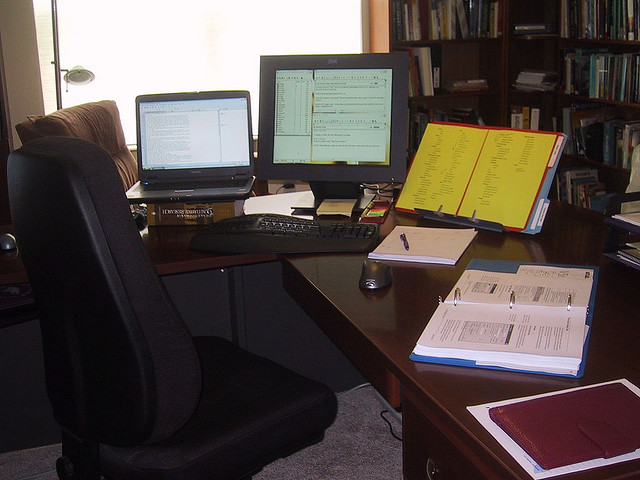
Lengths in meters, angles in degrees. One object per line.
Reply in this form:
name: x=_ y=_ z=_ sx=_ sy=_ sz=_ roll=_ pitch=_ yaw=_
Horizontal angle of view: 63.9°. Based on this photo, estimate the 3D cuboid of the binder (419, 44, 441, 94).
binder: x=0.971 y=-1.420 z=4.344 sx=0.140 sy=0.373 sz=0.401 roll=7 pitch=18 yaw=27

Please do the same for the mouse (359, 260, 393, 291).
mouse: x=0.143 y=0.077 z=1.328 sx=0.072 sy=0.045 sz=0.128 roll=6 pitch=23 yaw=19

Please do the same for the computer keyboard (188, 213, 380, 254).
computer keyboard: x=-0.106 y=-0.002 z=1.720 sx=0.616 sy=0.092 sz=0.271 roll=-4 pitch=-16 yaw=0

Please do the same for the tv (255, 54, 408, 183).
tv: x=0.063 y=-0.464 z=1.931 sx=0.478 sy=0.413 sz=0.058 roll=1 pitch=6 yaw=8

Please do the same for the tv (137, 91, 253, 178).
tv: x=-0.509 y=-0.359 z=1.869 sx=0.497 sy=0.345 sz=0.338 roll=0 pitch=14 yaw=12

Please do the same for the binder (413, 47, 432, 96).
binder: x=0.889 y=-1.392 z=4.296 sx=0.138 sy=0.392 sz=0.413 roll=-4 pitch=14 yaw=12

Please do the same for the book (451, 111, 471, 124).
book: x=1.171 y=-0.999 z=4.217 sx=0.152 sy=0.082 sz=0.151 roll=15 pitch=15 yaw=43

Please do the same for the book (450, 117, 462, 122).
book: x=1.127 y=-0.986 z=4.235 sx=0.023 sy=0.036 sz=0.144 roll=-22 pitch=29 yaw=-32

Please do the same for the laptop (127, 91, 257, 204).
laptop: x=-0.481 y=-0.346 z=1.871 sx=0.495 sy=0.351 sz=0.407 roll=-5 pitch=18 yaw=-11

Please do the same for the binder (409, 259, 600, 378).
binder: x=0.437 y=0.139 z=1.156 sx=0.323 sy=0.051 sz=0.560 roll=10 pitch=24 yaw=28
